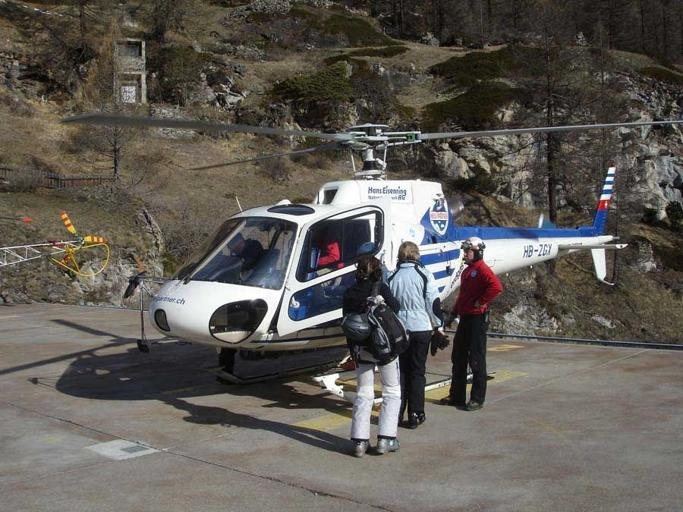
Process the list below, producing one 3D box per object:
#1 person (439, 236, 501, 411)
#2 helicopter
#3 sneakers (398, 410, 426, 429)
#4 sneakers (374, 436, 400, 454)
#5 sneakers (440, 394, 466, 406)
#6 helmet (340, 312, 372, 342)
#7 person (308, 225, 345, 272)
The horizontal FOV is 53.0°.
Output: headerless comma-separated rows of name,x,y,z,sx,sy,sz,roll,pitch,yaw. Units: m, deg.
person,2.011,1.065,10.677,0.795,2.645,0.771,-3,14,-9
helicopter,0.523,-0.122,13.195,8.433,2.349,6.979,0,2,-41
sneakers,1.054,2.398,10.095,0.199,0.145,0.459,2,6,35
sneakers,0.612,2.536,9.231,0.162,0.158,0.443,2,2,43
sneakers,1.787,2.293,10.953,0.399,0.125,0.162,7,5,33
helmet,0.206,0.947,9.155,0.414,0.333,0.453,-2,-12,24
person,-0.262,-0.128,10.866,0.683,0.702,0.286,-11,16,-39
